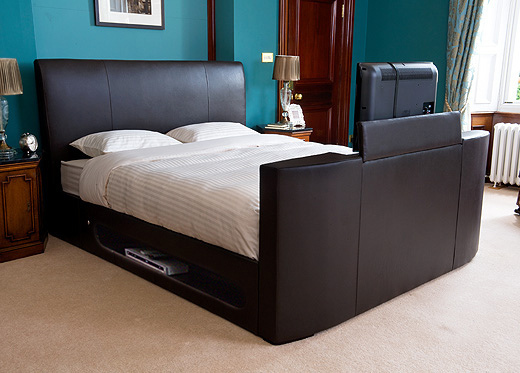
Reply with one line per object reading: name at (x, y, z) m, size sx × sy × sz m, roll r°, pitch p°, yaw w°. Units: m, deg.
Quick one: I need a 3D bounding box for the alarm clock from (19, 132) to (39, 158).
alarm clock at (-1.988, -0.369, 3.297) m, size 0.117 × 0.192 × 0.142 m, roll 5°, pitch 21°, yaw 24°

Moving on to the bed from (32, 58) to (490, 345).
bed at (-0.188, -0.298, 3.318) m, size 3.514 × 1.584 × 2.237 m, roll 14°, pitch 24°, yaw 39°

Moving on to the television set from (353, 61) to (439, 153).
television set at (0.936, -0.549, 2.574) m, size 0.659 × 0.530 × 0.090 m, roll -9°, pitch 19°, yaw -24°

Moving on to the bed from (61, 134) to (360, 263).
bed at (-0.374, -0.168, 3.199) m, size 1.834 × 0.490 × 1.595 m, roll 10°, pitch 22°, yaw 31°

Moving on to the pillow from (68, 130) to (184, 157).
pillow at (-1.287, -0.410, 3.502) m, size 0.352 × 0.174 × 0.581 m, roll 7°, pitch 8°, yaw 43°

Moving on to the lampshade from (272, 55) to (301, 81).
lampshade at (0.301, -1.407, 4.601) m, size 0.286 × 0.226 × 0.294 m, roll 12°, pitch 20°, yaw 31°
